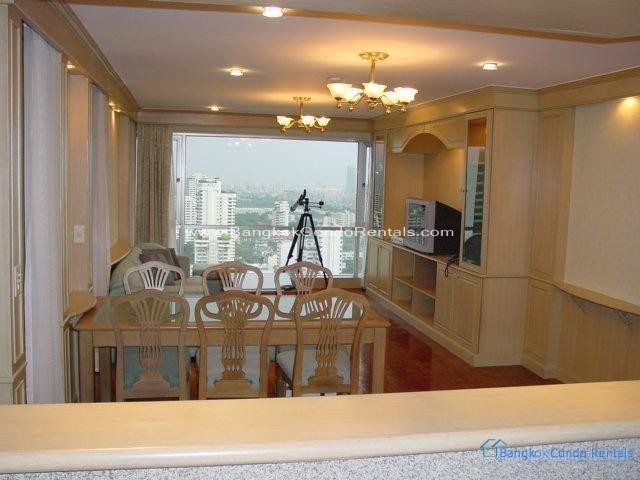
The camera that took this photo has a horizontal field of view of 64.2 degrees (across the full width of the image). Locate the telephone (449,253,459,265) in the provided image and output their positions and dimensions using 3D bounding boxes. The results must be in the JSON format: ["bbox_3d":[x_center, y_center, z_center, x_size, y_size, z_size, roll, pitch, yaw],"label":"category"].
[{"bbox_3d":[1.564,0.233,5.915,0.117,0.136,0.121,0,0,-1],"label":"telephone"}]

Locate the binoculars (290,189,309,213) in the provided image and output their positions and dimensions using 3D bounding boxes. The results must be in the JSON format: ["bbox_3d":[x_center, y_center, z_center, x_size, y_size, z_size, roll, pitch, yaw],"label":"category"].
[{"bbox_3d":[-0.323,-0.662,8.531,0.206,0.195,0.473,1,-9,-31],"label":"binoculars"}]

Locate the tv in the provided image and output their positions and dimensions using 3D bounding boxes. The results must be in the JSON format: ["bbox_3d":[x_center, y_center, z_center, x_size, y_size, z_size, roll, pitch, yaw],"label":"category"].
[{"bbox_3d":[1.396,-0.139,6.648,0.662,0.770,0.911,0,5,-12],"label":"tv"}]

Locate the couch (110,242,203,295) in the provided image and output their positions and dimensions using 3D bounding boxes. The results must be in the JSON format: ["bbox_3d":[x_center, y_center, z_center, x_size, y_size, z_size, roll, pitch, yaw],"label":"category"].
[{"bbox_3d":[-1.878,0.312,5.629,0.580,0.532,1.348,0,8,-12],"label":"couch"}]

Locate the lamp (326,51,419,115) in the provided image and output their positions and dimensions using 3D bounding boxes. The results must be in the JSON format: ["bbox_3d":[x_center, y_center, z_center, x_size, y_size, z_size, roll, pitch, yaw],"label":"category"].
[{"bbox_3d":[0.437,-1.318,4.220,0.785,0.484,0.805,9,13,21],"label":"lamp"}]

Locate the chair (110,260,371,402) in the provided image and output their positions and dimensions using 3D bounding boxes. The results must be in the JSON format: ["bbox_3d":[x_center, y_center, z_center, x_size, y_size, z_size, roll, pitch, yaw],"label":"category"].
[{"bbox_3d":[-0.497,0.772,3.748,1.892,0.951,0.947,2,3,-10],"label":"chair"}]

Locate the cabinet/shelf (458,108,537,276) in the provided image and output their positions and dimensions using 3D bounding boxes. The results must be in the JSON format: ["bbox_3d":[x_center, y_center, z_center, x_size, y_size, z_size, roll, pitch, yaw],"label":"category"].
[{"bbox_3d":[1.913,-0.458,5.172,0.549,1.678,0.200,2,3,-8],"label":"cabinet/shelf"}]

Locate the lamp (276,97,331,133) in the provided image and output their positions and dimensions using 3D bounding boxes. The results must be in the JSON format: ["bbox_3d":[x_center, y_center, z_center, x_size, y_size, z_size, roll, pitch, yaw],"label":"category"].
[{"bbox_3d":[-0.190,-1.523,6.144,0.675,0.402,0.730,0,16,-4],"label":"lamp"}]
